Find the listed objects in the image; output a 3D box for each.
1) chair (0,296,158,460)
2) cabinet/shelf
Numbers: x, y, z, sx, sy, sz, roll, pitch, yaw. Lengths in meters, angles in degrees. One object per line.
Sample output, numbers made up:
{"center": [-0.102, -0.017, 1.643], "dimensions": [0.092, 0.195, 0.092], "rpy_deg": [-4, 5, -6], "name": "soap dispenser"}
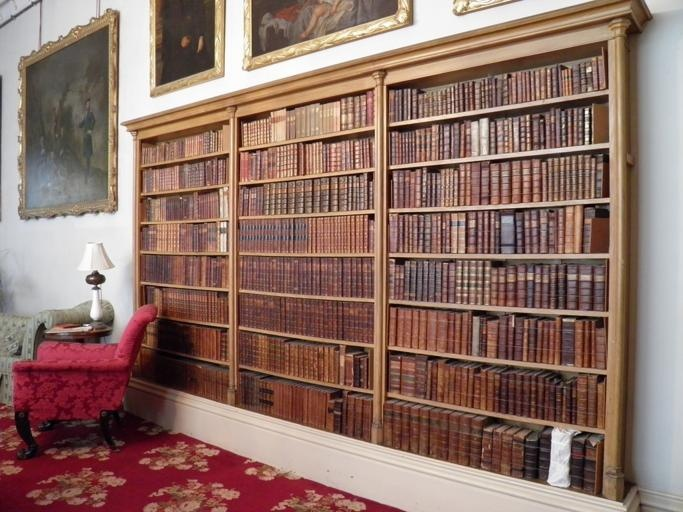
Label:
{"center": [-2.460, 1.243, 6.154], "dimensions": [1.597, 1.423, 1.283], "rpy_deg": [3, -4, -18], "name": "chair"}
{"center": [0.448, 0.034, 4.786], "dimensions": [4.959, 2.894, 0.820], "rpy_deg": [-2, -6, 40], "name": "cabinet/shelf"}
